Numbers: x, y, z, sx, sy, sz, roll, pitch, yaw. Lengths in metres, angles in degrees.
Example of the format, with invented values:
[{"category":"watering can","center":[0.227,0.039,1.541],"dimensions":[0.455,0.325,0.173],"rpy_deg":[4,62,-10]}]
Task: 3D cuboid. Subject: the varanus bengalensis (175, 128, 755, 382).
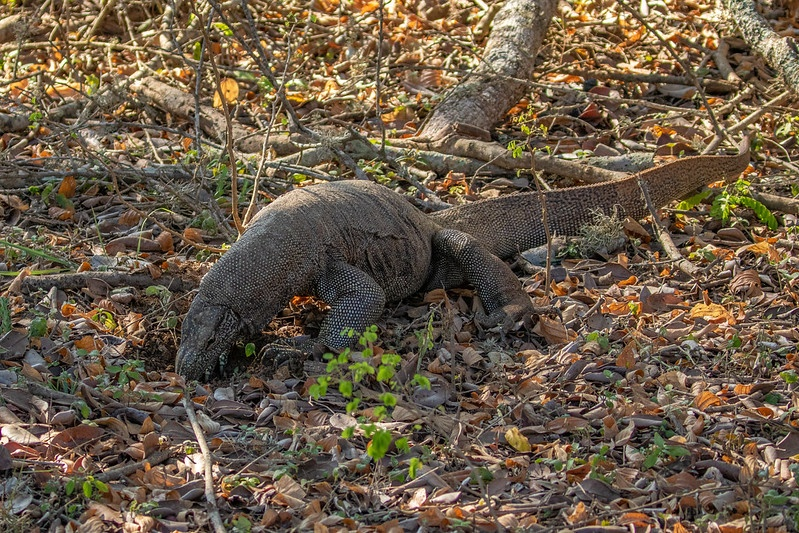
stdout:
[{"category":"varanus bengalensis","center":[0.308,-0.091,7.121],"dimensions":[4.658,1.198,1.288],"rpy_deg":[-7,35,-23]}]
